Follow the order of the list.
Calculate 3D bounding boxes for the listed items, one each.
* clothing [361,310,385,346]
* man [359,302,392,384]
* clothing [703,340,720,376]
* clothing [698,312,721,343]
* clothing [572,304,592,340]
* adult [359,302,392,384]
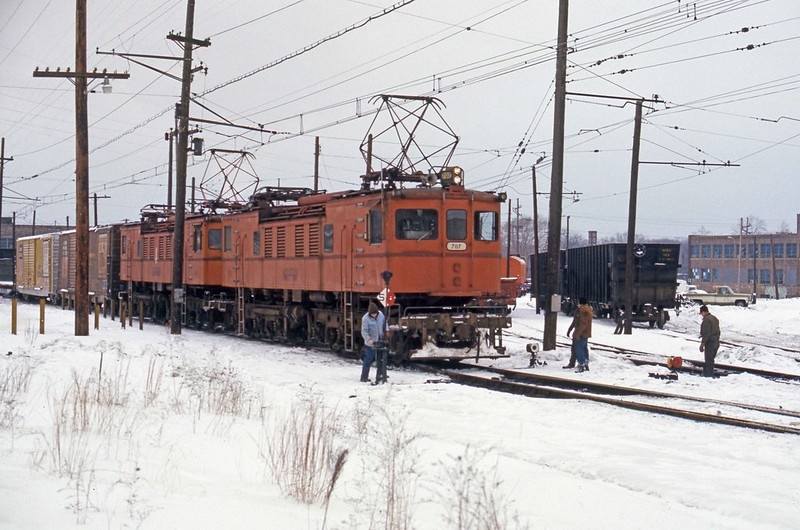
[{"bbox_3d":[-0.618,1.543,20.853,0.801,0.778,0.366,-18,14,-29],"label":"clothing"},{"bbox_3d":[-0.633,1.917,20.675,0.653,1.996,1.231,2,9,-3],"label":"man"},{"bbox_3d":[8.087,2.385,21.900,0.282,0.907,0.249,0,-10,32],"label":"clothing"},{"bbox_3d":[8.255,1.685,22.421,0.553,1.025,1.018,1,-2,28],"label":"clothing"},{"bbox_3d":[4.821,1.519,22.312,0.437,0.886,0.581,4,9,9],"label":"clothing"},{"bbox_3d":[-0.633,1.917,20.675,0.653,1.996,1.231,2,9,-3],"label":"adult"}]
